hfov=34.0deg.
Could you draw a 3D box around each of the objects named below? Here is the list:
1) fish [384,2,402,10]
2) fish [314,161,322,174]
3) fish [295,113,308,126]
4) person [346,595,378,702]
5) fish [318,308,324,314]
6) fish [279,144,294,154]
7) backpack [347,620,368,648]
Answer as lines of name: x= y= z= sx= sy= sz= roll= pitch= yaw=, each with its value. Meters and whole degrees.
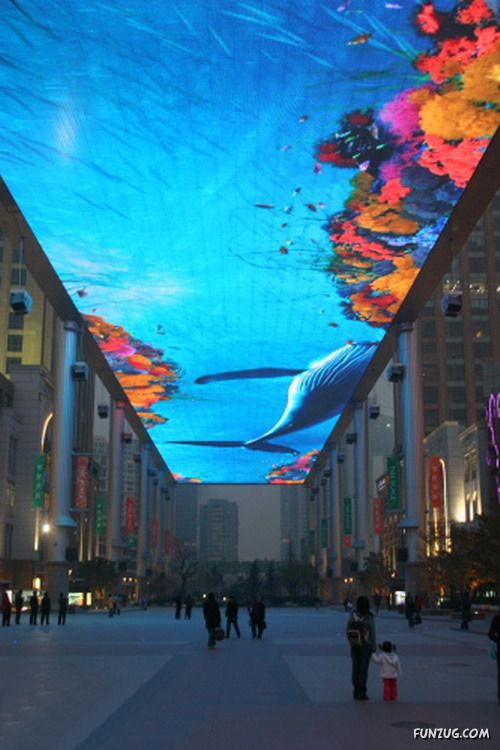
fish: x=3.403 y=-8.803 z=19.504 sx=0.256 sy=0.084 sz=0.160 roll=5 pitch=-4 yaw=41
fish: x=2.198 y=-6.739 z=26.558 sx=0.146 sy=0.213 sz=0.390 roll=6 pitch=-4 yaw=-1
fish: x=1.546 y=-7.511 z=24.037 sx=0.322 sy=0.057 sz=0.414 roll=0 pitch=-15 yaw=4
person: x=1.322 y=3.289 z=9.886 sx=0.371 sy=1.245 sz=0.509 roll=-1 pitch=-13 yaw=7
fish: x=3.459 y=-3.059 z=39.586 sx=0.268 sy=0.027 sz=0.826 roll=1 pitch=-15 yaw=2
fish: x=1.127 y=-7.061 z=25.434 sx=0.362 sy=0.021 sz=0.502 roll=1 pitch=-15 yaw=2
backpack: x=1.294 y=3.090 z=9.813 sx=0.229 sy=0.354 sz=0.316 roll=-4 pitch=-18 yaw=15
